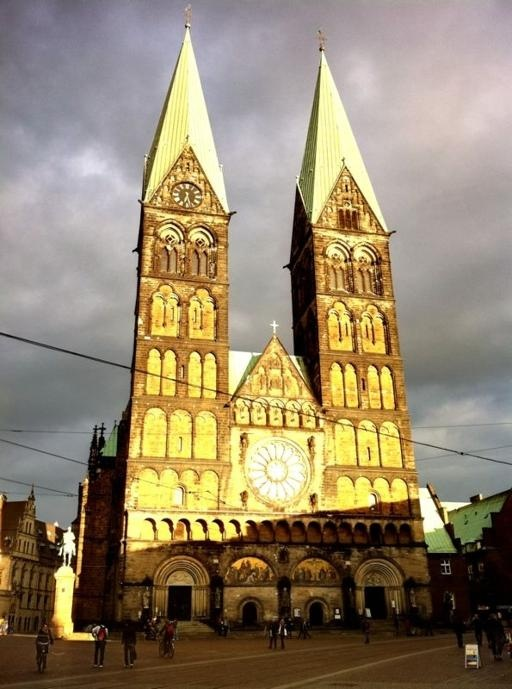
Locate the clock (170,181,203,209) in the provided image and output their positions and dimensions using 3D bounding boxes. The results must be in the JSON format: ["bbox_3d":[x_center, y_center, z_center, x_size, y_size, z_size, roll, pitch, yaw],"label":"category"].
[{"bbox_3d":[-5.502,-11.528,50.992,2.090,2.050,0.289,40,-39,-3],"label":"clock"}]
